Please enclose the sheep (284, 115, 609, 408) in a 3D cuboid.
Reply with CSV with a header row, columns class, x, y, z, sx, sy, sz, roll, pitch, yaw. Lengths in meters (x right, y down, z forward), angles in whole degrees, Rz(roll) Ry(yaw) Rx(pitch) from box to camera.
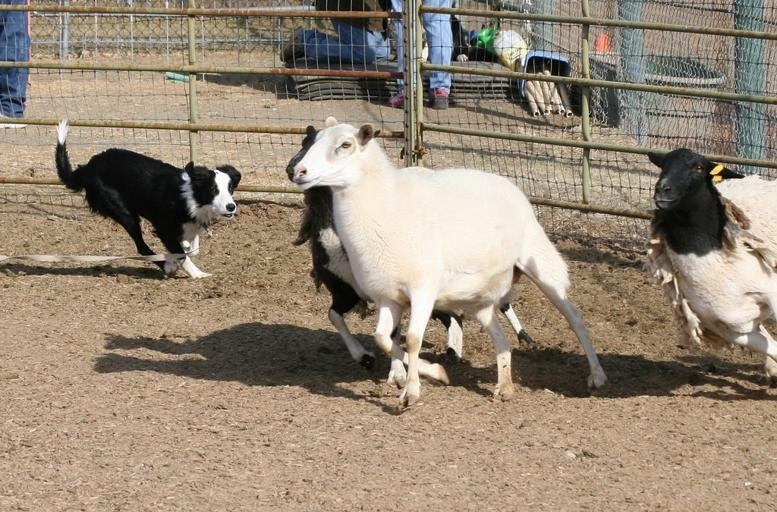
class,x,y,z,sx,sy,sz,roll,pitch,yaw
sheep,0.388,0.049,8.515,2.245,2.207,0.763,-5,20,-19
